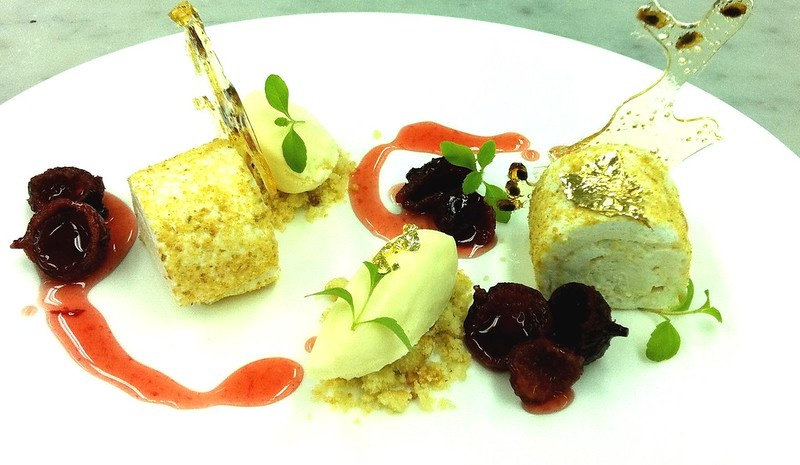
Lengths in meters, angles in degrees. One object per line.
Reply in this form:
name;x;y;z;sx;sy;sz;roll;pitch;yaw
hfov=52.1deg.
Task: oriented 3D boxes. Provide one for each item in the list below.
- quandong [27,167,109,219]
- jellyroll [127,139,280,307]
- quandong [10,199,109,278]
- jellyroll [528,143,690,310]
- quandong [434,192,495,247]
quandong;-2.001;-0.264;4.915;0.382;0.120;0.261;-18;82;-18
jellyroll;-1.110;-0.069;4.730;0.649;0.313;0.852;-21;77;-8
quandong;-1.934;0.031;4.713;0.566;0.173;0.375;1;86;-7
jellyroll;1.256;-0.047;5.018;1.050;0.719;0.938;-1;51;10
quandong;0.419;-0.088;4.985;0.346;0.125;0.339;44;88;-15
